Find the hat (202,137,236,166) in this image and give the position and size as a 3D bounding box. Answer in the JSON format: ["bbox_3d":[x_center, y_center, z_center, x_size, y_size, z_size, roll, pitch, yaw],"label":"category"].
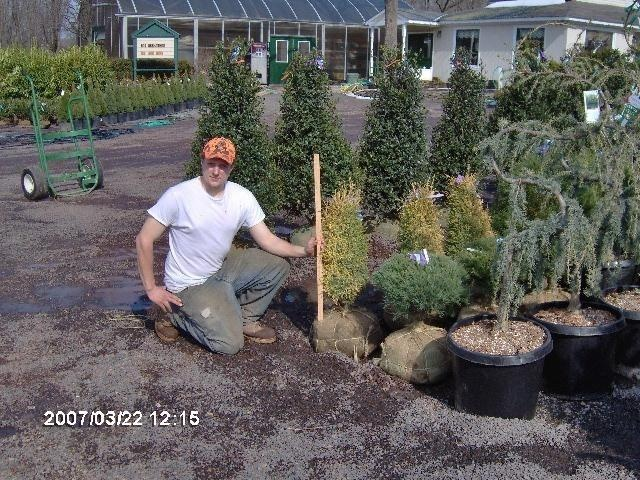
[{"bbox_3d":[-0.840,-0.725,4.464,0.251,0.220,0.239,-2,20,-3],"label":"hat"}]

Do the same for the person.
[{"bbox_3d":[-0.901,0.067,4.700,1.302,1.866,0.625,-9,20,-22],"label":"person"}]

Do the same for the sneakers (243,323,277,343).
[{"bbox_3d":[-0.539,0.848,5.017,0.331,0.176,0.135,5,33,9],"label":"sneakers"}]

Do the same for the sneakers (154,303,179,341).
[{"bbox_3d":[-1.404,0.799,4.983,0.173,0.407,0.177,-11,-9,-29],"label":"sneakers"}]
